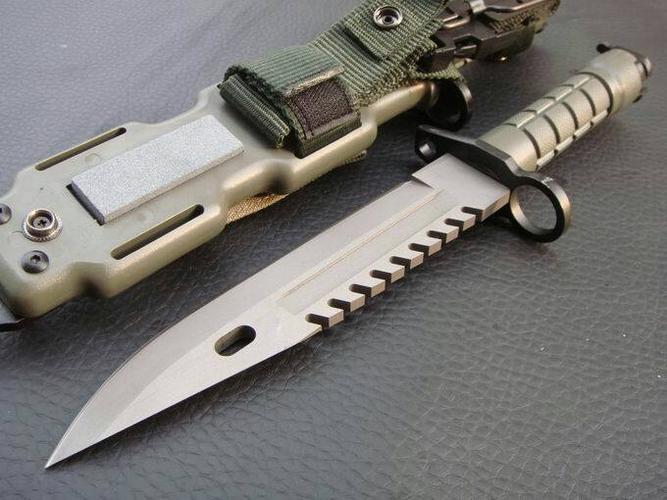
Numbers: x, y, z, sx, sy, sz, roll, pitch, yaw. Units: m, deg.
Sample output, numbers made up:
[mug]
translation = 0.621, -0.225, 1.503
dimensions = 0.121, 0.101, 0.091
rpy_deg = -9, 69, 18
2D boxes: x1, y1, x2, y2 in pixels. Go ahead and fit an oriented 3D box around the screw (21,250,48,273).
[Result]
[screw]
translation = -0.376, 0.015, 0.858
dimensions = 0.031, 0.019, 0.027
rpy_deg = -7, 46, -20
